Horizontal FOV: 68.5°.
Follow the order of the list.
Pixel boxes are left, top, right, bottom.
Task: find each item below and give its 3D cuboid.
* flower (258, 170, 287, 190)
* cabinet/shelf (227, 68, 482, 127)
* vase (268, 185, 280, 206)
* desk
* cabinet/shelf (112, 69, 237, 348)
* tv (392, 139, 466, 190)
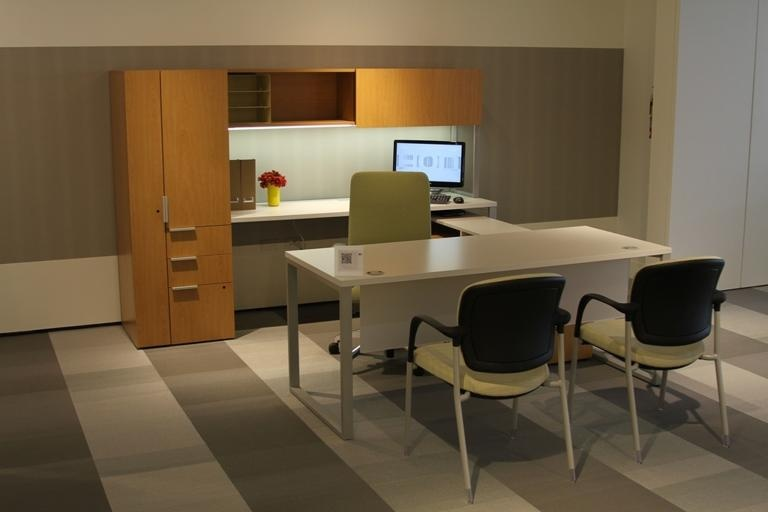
[{"bbox_3d":[-1.215,-0.835,6.220,0.229,0.166,0.232,1,8,2],"label":"flower"},{"bbox_3d":[-0.301,-1.777,6.383,2.861,0.688,0.630,-7,16,-15],"label":"cabinet/shelf"},{"bbox_3d":[-1.218,-0.661,6.277,0.180,0.228,0.188,-1,8,-19],"label":"vase"},{"bbox_3d":[0.616,0.392,4.839,2.943,1.225,1.464,-8,16,-16],"label":"desk"},{"bbox_3d":[-1.946,-0.420,5.385,1.110,2.596,0.330,-7,16,-14],"label":"cabinet/shelf"},{"bbox_3d":[0.499,-1.024,6.282,0.694,0.505,0.201,2,9,1],"label":"tv"}]
